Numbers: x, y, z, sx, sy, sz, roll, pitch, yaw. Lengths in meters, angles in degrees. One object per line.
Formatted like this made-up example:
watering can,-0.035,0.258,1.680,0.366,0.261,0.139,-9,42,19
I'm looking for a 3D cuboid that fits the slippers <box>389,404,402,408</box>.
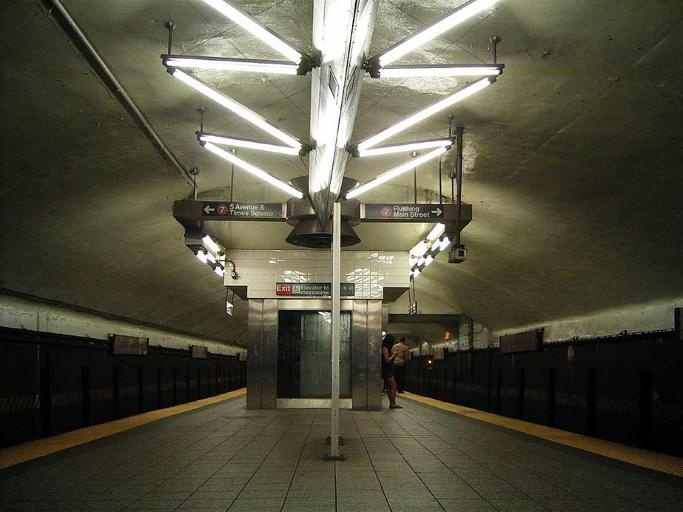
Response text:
slippers,1.500,4.206,16.214,0.438,0.090,0.134,-1,-1,0
